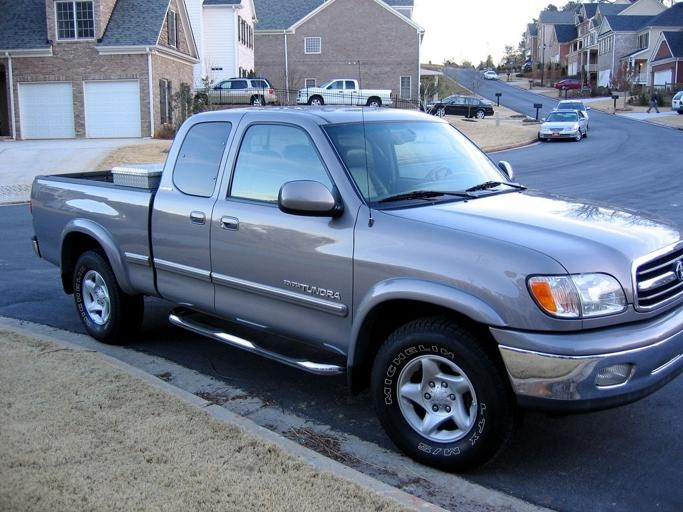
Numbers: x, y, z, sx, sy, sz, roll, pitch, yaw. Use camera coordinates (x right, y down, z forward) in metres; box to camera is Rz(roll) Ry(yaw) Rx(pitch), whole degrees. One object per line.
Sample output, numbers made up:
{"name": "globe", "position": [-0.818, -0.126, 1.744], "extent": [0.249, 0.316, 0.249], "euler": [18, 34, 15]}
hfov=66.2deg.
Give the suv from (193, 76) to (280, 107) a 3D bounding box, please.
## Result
{"name": "suv", "position": [-6.751, -10.928, 34.863], "extent": [4.363, 1.977, 2.315], "euler": [5, 11, 15]}
